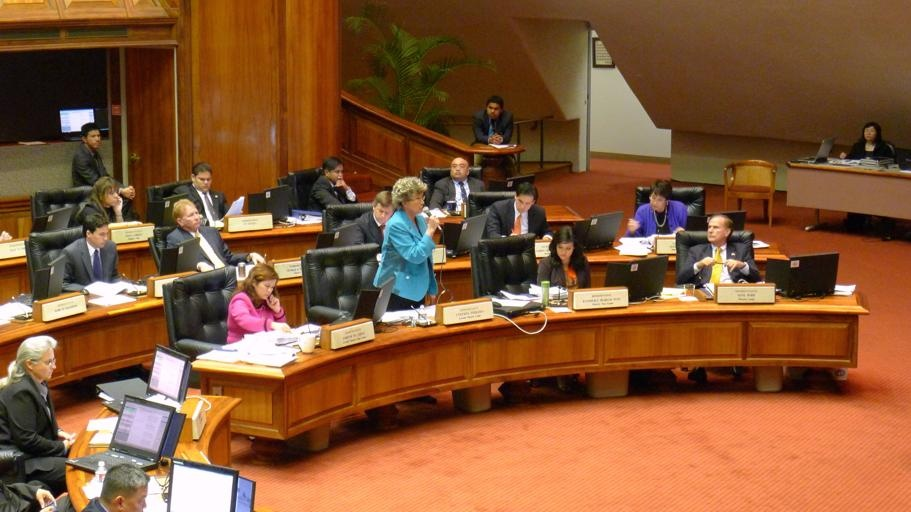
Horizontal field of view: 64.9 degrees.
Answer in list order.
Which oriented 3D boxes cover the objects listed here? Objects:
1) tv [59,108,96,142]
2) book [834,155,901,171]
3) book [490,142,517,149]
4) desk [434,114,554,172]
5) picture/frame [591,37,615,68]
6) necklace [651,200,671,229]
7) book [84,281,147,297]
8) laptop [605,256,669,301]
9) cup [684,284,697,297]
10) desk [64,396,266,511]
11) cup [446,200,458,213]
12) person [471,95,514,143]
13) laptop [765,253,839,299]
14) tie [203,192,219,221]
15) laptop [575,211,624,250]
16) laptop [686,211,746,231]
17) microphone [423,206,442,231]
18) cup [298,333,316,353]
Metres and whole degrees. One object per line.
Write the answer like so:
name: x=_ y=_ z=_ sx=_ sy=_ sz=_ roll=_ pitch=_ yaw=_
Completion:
tv: x=-6.384 y=-2.192 z=12.018 sx=0.750 sy=0.663 sz=0.394 roll=-1 pitch=4 yaw=-20
book: x=7.643 y=-1.708 z=13.321 sx=1.103 sy=0.178 sz=0.627 roll=6 pitch=13 yaw=28
book: x=0.922 y=-2.058 z=13.426 sx=0.557 sy=0.091 sz=0.291 roll=-6 pitch=13 yaw=-26
desk: x=1.157 y=-3.343 z=18.691 sx=2.736 sy=1.914 sz=1.977 roll=-7 pitch=14 yaw=-28
picture/frame: x=4.108 y=-5.611 z=19.909 sx=0.568 sy=0.781 sz=0.509 roll=1 pitch=12 yaw=11
necklace: x=2.957 y=-0.600 z=10.280 sx=0.317 sy=0.412 sz=0.164 roll=-4 pitch=10 yaw=-17
book: x=-3.993 y=0.375 z=8.341 sx=0.353 sy=0.070 sz=0.306 roll=-7 pitch=11 yaw=-41
laptop: x=2.082 y=0.236 z=8.151 sx=0.677 sy=0.437 sz=0.523 roll=-2 pitch=5 yaw=-15
cup: x=2.793 y=0.403 z=8.488 sx=0.133 sy=0.144 sz=0.131 roll=-1 pitch=2 yaw=0
desk: x=-2.330 y=1.583 z=5.764 sx=0.496 sy=0.243 sz=1.030 roll=17 pitch=18 yaw=8
cup: x=-0.052 y=-0.769 z=11.120 sx=0.139 sy=0.167 sz=0.168 roll=0 pitch=-2 yaw=2
person: x=0.713 y=-2.571 z=13.566 sx=0.692 sy=0.872 sz=0.504 roll=-3 pitch=11 yaw=-10
laptop: x=4.030 y=0.250 z=8.357 sx=0.772 sy=0.522 sz=0.534 roll=-2 pitch=11 yaw=-9
tie: x=-3.644 y=-0.725 z=10.580 sx=0.128 sy=0.389 sz=0.295 roll=-18 pitch=2 yaw=33
laptop: x=1.894 y=-0.473 z=9.865 sx=0.705 sy=0.496 sz=0.588 roll=-10 pitch=20 yaw=-34
laptop: x=3.467 y=-0.465 z=9.525 sx=0.400 sy=0.252 sz=0.141 roll=-2 pitch=55 yaw=2
microphone: x=-0.303 y=-0.495 z=9.389 sx=0.307 sy=0.103 sz=0.455 roll=-1 pitch=16 yaw=0
cup: x=-1.454 y=0.850 z=7.040 sx=0.139 sy=0.174 sz=0.116 roll=-4 pitch=12 yaw=-14
